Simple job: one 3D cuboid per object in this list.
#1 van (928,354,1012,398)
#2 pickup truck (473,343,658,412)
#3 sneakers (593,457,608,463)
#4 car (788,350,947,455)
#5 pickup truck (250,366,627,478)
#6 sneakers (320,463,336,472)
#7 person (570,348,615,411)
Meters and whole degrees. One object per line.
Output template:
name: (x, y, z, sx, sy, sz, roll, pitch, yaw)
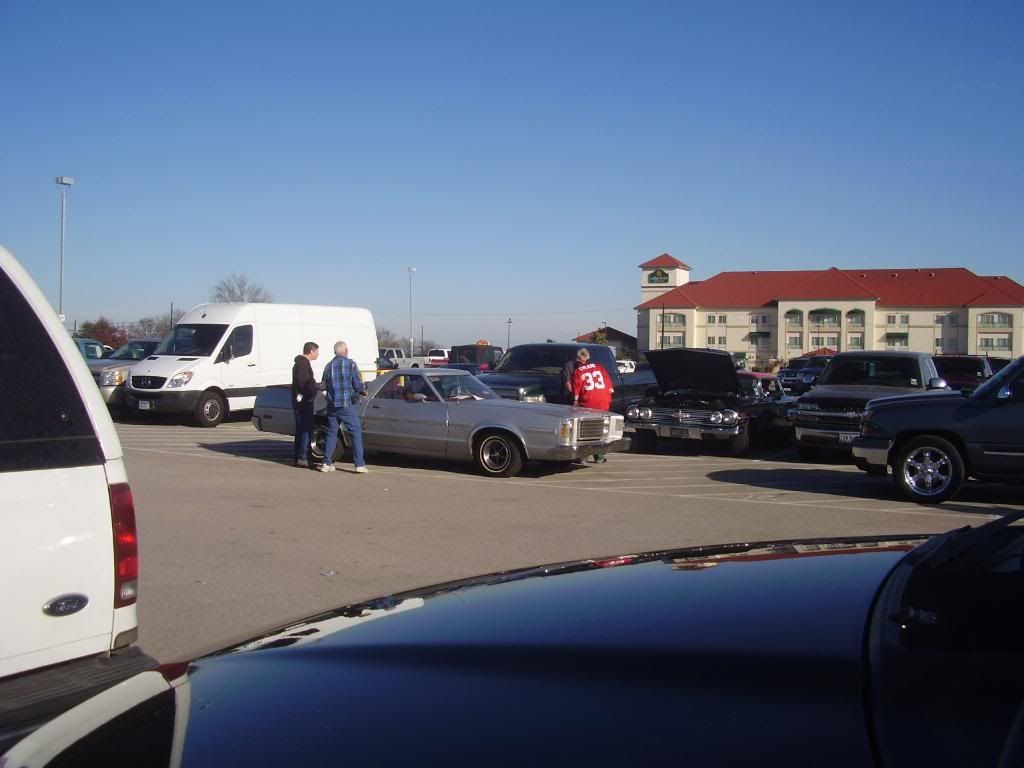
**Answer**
van: (8.695, -0.209, 16.302, 0.890, 0.700, 1.937, 5, 10, 43)
pickup truck: (0.827, -0.241, 17.571, 1.739, 1.130, 3.148, 0, 0, 32)
sneakers: (1.444, 1.193, 13.805, 0.178, 0.071, 0.237, -2, -2, 31)
car: (5.650, 0.181, 13.946, 1.444, 1.139, 3.045, -1, -2, 37)
pickup truck: (-0.970, 0.484, 13.114, 4.346, 1.037, 1.857, 2, 5, 23)
sneakers: (-2.684, 1.193, 12.423, 0.225, 0.085, 0.086, -2, 1, 13)
person: (1.435, -0.027, 14.750, 0.736, 0.772, 1.101, -3, 25, -13)
